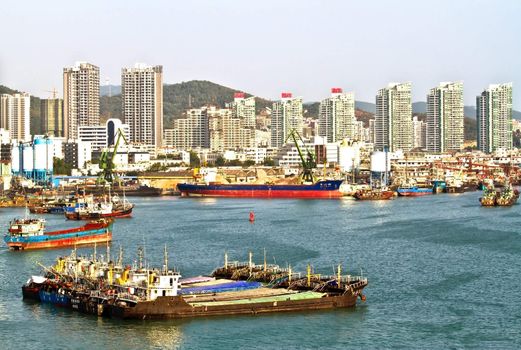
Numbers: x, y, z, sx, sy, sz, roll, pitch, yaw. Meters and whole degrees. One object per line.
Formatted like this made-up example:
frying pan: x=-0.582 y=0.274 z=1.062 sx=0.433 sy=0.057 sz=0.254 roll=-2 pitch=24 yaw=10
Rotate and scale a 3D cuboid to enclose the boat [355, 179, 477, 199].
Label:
boat: x=19.194 y=1.706 z=118.680 sx=1.637 sy=1.842 sz=13.962 roll=4 pitch=6 yaw=42
